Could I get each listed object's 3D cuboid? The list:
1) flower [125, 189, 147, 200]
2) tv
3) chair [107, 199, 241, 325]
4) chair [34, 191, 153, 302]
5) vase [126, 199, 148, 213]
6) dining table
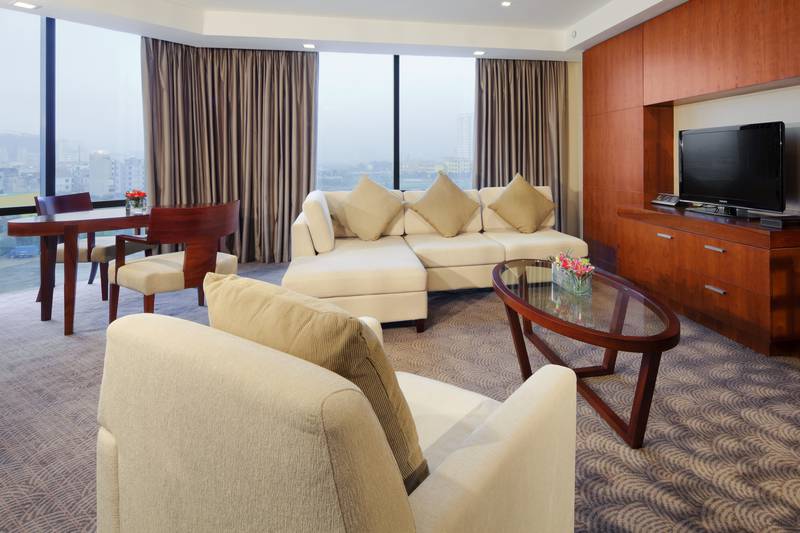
[{"bbox_3d":[-2.274,-0.612,4.770,0.191,0.099,0.205,6,8,32],"label":"flower"},{"bbox_3d":[2.784,-0.785,4.542,0.213,0.611,0.836,-8,12,-21],"label":"tv"},{"bbox_3d":[-1.755,-0.030,4.156,0.720,1.086,0.962,12,13,37],"label":"chair"},{"bbox_3d":[-2.949,-0.174,5.066,0.726,0.810,0.689,9,12,-4],"label":"chair"},{"bbox_3d":[-2.277,-0.520,4.743,0.143,0.149,0.147,2,0,-4],"label":"vase"},{"bbox_3d":[-2.540,0.031,4.483,0.347,0.587,1.008,8,11,7],"label":"dining table"}]
